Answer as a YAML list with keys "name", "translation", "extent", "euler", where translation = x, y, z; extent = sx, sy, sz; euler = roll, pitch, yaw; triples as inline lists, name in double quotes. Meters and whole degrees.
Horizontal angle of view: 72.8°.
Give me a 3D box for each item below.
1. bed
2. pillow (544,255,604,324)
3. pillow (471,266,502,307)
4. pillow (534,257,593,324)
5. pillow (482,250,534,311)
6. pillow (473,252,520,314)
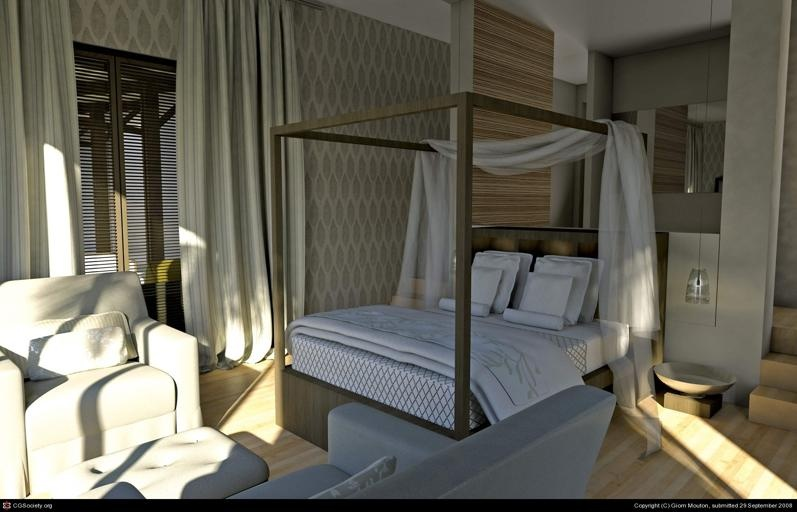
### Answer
- name: "bed"
  translation: [0.396, -0.015, 4.787]
  extent: [2.036, 2.237, 2.105]
  euler: [-7, 8, -44]
- name: "pillow"
  translation: [1.580, 0.305, 4.778]
  extent: [0.151, 0.528, 0.504]
  euler: [6, 1, -45]
- name: "pillow"
  translation: [0.897, 0.351, 5.303]
  extent: [0.369, 0.353, 0.111]
  euler: [6, -17, 41]
- name: "pillow"
  translation: [1.543, 0.310, 4.913]
  extent: [0.147, 0.535, 0.532]
  euler: [22, -3, -34]
- name: "pillow"
  translation: [1.116, 0.257, 5.328]
  extent: [0.140, 0.533, 0.514]
  euler: [13, -1, -32]
- name: "pillow"
  translation: [1.010, 0.280, 5.314]
  extent: [0.159, 0.540, 0.537]
  euler: [25, -9, -39]
